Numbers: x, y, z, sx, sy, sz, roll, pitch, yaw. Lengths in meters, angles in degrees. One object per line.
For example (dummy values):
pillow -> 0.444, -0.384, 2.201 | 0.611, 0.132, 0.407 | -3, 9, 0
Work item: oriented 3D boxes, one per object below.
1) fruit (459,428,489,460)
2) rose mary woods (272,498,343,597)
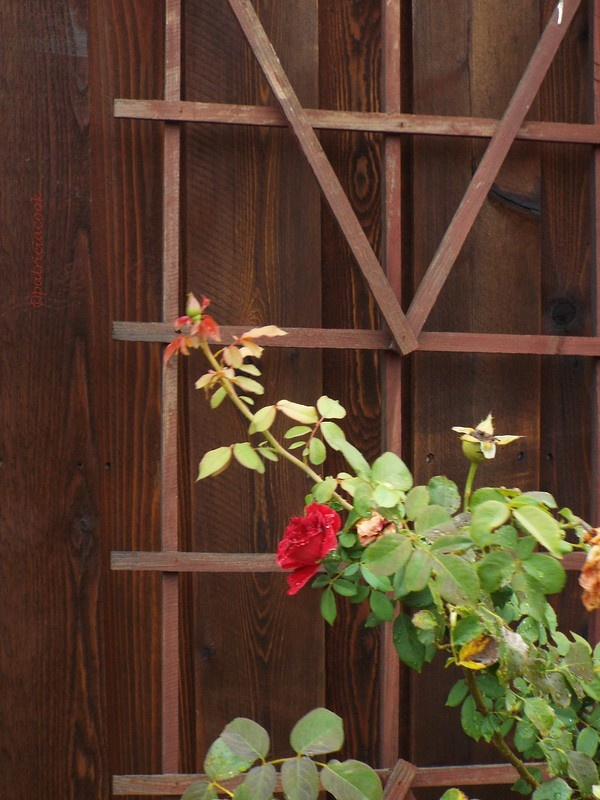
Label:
fruit -> 0.260, 0.058, 2.665 | 0.041, 0.043, 0.029 | 8, -70, 1
rose mary woods -> 0.018, 0.204, 2.687 | 0.052, 0.123, 0.113 | 23, -54, -17
